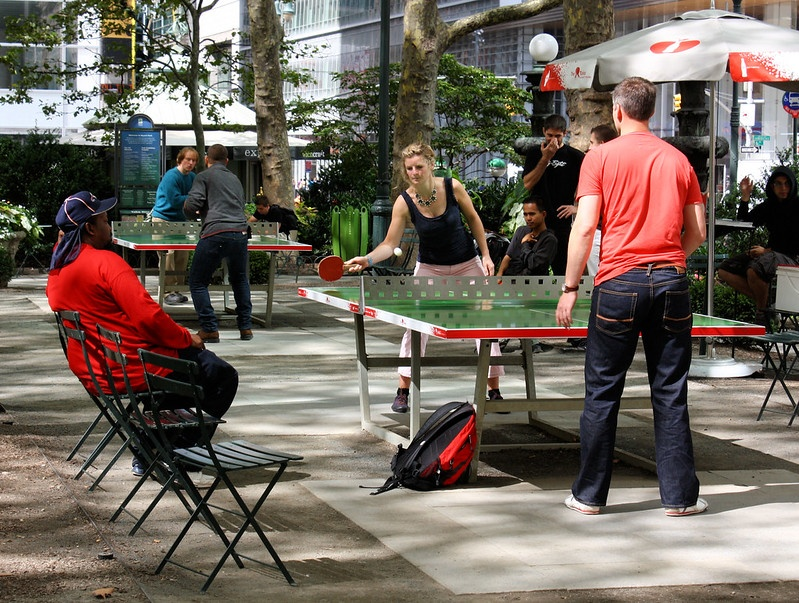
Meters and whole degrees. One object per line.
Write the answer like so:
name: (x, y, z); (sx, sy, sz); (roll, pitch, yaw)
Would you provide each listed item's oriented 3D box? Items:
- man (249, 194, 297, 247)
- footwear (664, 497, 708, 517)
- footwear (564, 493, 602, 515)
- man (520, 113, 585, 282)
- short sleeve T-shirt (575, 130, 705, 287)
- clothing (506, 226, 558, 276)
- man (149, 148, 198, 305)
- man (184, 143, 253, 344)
man: (-2.544, -1.698, 21.130); (1.355, 0.890, 0.942); (-3, -3, -16)
footwear: (1.853, 1.360, 6.621); (0.298, 0.116, 0.103); (-10, 18, -21)
footwear: (1.190, 1.322, 6.652); (0.092, 0.089, 0.224); (-4, 11, -25)
man: (1.819, -1.038, 11.928); (0.805, 2.181, 0.734); (6, 19, 22)
short sleeve T-shirt: (1.532, -0.607, 6.513); (0.779, 0.967, 0.383); (1, 8, 10)
clothing: (1.504, -0.593, 12.066); (0.595, 0.650, 0.404); (-5, -22, -3)
man: (-3.437, -1.187, 15.856); (0.830, 2.376, 0.981); (3, 3, -18)
man: (-2.357, -0.768, 13.020); (0.957, 2.474, 1.026); (2, 3, 45)
